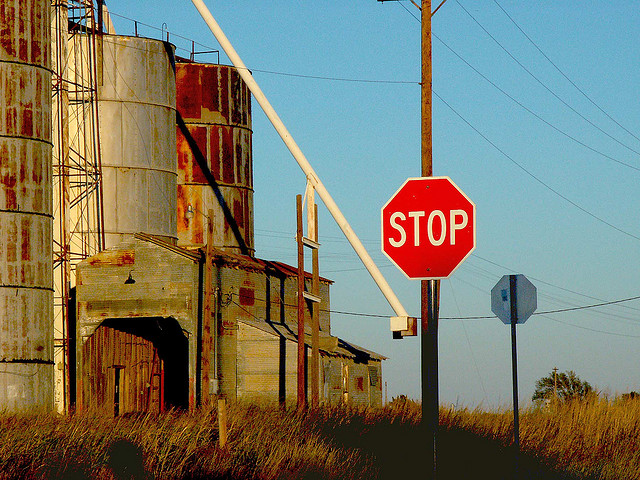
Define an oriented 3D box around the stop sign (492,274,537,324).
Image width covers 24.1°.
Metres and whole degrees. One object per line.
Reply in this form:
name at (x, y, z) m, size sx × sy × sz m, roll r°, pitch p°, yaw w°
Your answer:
stop sign at (5.814, 1.759, 44.507) m, size 1.336 × 1.856 × 0.067 m, roll -2°, pitch -41°, yaw 8°
